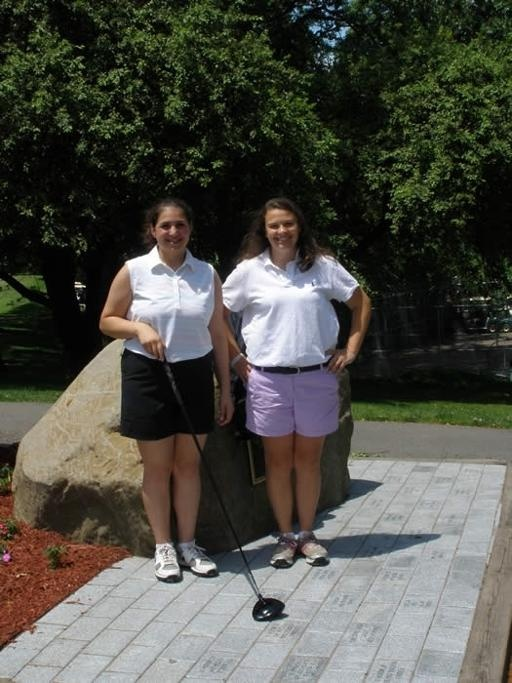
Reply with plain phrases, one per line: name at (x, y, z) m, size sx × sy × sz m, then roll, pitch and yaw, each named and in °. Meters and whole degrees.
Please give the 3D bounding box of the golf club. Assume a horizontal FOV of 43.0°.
golf club at (-0.114, 0.878, 2.930) m, size 0.255 × 1.429 × 0.162 m, roll -38°, pitch 48°, yaw -24°

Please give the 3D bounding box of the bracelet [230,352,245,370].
bracelet at (-0.102, 0.102, 3.359) m, size 0.023 × 0.074 × 0.081 m, roll 33°, pitch -27°, yaw -10°
